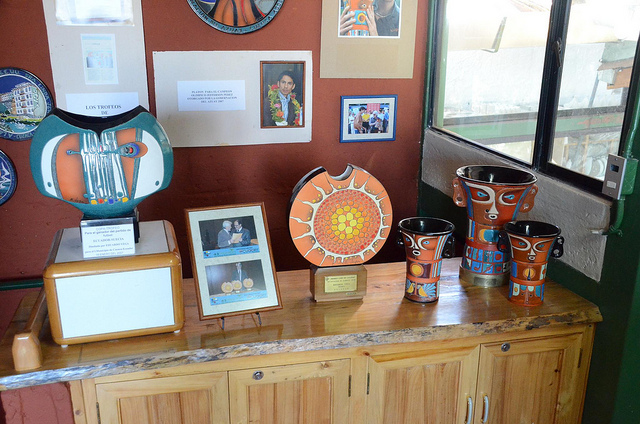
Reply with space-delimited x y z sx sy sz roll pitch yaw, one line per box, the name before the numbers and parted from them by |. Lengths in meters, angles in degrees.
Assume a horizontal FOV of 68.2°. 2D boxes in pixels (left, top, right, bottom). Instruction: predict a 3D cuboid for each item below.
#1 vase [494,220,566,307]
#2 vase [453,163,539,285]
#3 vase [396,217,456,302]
vase | 0.948 0.241 2.142 0.295 0.338 0.243 2 10 11
vase | 0.833 0.082 2.283 0.377 0.488 0.360 0 7 17
vase | 0.481 0.218 2.154 0.221 0.358 0.200 -16 19 -41
